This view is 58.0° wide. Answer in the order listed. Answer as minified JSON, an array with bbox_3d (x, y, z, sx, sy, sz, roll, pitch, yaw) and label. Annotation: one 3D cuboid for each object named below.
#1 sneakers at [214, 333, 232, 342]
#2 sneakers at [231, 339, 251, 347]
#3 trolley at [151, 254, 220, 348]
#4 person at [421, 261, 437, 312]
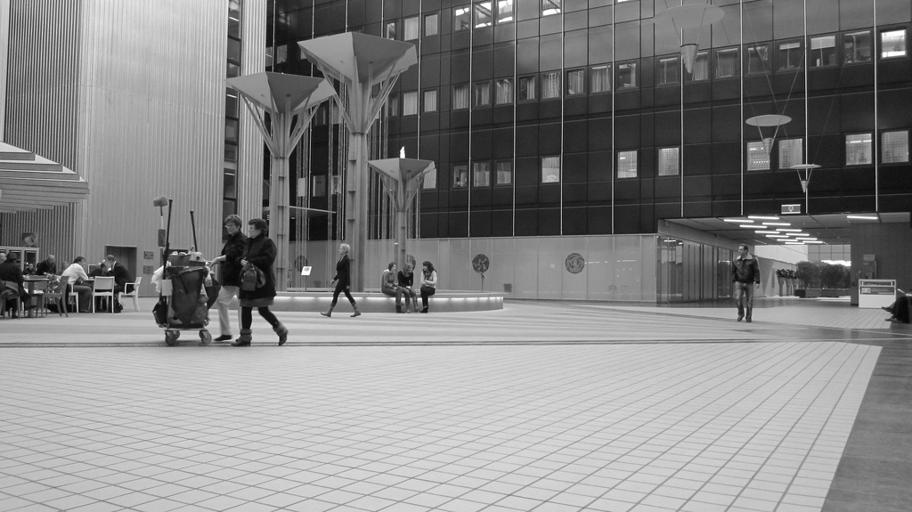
[{"bbox_3d":[-6.655,2.343,23.658,0.564,0.212,0.194,0,-10,-2],"label":"sneakers"},{"bbox_3d":[-6.056,2.465,23.278,0.519,0.197,0.208,6,-11,8],"label":"sneakers"},{"bbox_3d":[-7.746,1.389,24.002,2.572,2.827,2.379,0,-8,-6],"label":"trolley"},{"bbox_3d":[-1.155,1.271,34.548,0.616,2.268,0.953,-1,15,-3],"label":"person"}]
